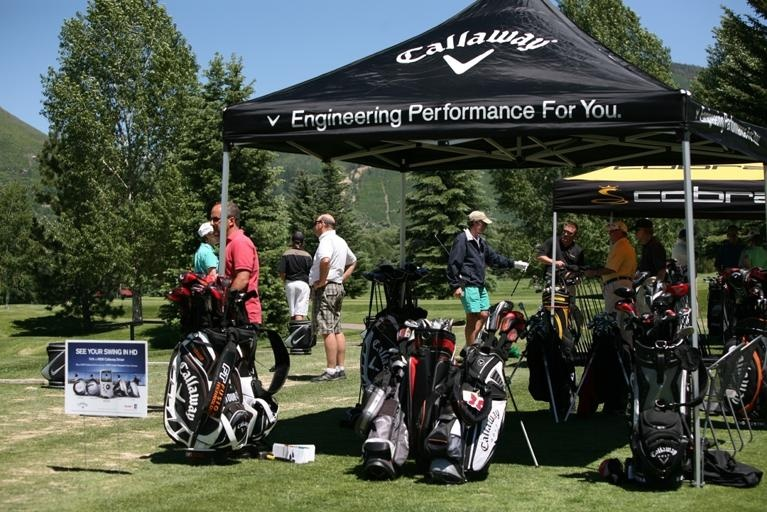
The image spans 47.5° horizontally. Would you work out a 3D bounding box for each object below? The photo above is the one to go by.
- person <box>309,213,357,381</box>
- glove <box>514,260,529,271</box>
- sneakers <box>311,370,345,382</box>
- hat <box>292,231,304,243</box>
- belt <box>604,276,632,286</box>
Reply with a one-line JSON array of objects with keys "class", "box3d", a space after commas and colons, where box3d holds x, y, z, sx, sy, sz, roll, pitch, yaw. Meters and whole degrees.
[{"class": "person", "box3d": [-0.836, 0.686, 14.129, 0.706, 2.719, 1.342, 0, 4, -3]}, {"class": "glove", "box3d": [1.931, 0.129, 12.169, 0.115, 0.088, 0.294, 7, 0, -3]}, {"class": "sneakers", "box3d": [-0.909, 1.933, 14.121, 0.540, 0.218, 0.196, 0, -3, -3]}, {"class": "hat", "box3d": [-1.767, -0.387, 17.918, 0.193, 0.150, 0.268, 6, 12, -6]}, {"class": "belt", "box3d": [3.783, 0.405, 14.065, 0.245, 0.093, 0.200, 4, -2, 42]}]
